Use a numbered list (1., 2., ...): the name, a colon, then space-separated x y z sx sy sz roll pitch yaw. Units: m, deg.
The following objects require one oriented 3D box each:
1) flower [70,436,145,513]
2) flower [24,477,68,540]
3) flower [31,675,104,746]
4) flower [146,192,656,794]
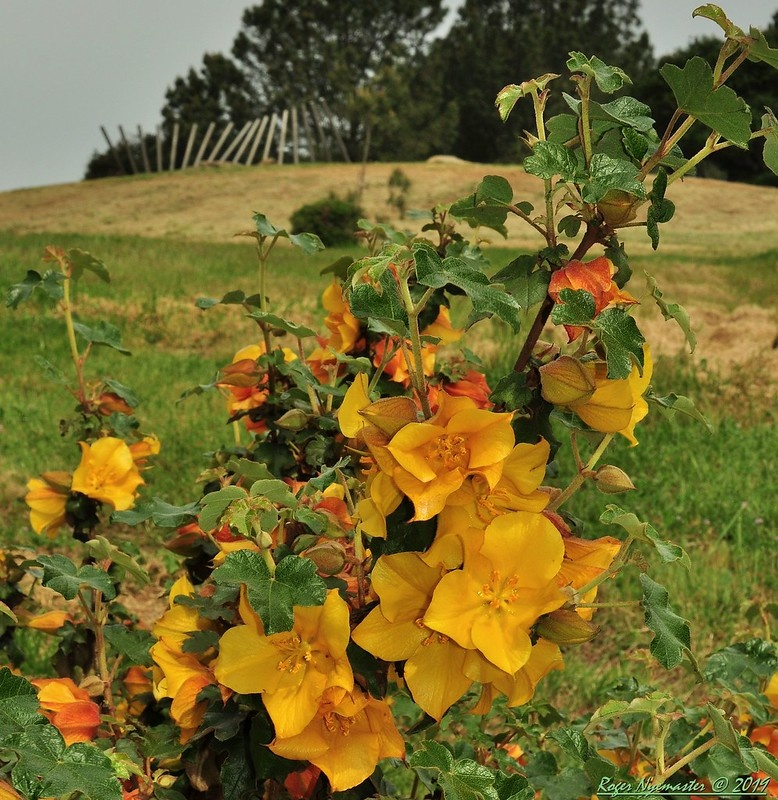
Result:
1. flower: -0.684 0.179 2.451 0.186 0.073 0.192 35 23 20
2. flower: -0.832 0.267 2.540 0.103 0.183 0.103 -7 12 -16
3. flower: -0.676 0.639 2.170 0.108 0.101 0.273 -7 10 -21
4. flower: -0.017 0.224 1.918 0.884 1.144 0.896 -6 11 -13
